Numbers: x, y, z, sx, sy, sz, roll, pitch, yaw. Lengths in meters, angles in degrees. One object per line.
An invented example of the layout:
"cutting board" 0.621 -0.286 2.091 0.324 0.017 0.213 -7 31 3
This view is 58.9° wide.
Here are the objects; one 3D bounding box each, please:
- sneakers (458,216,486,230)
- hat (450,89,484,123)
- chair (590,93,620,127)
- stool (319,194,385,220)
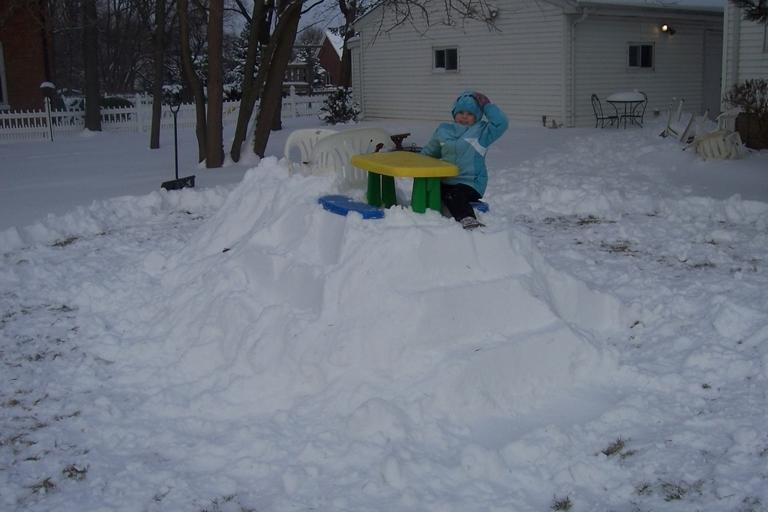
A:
"sneakers" 0.882 -0.370 6.772 0.274 0.104 0.268 -2 14 -1
"hat" 0.963 -1.802 7.795 0.262 0.370 0.372 6 -5 7
"chair" 5.898 -4.060 18.011 0.619 0.892 1.316 9 17 40
"stool" -0.382 -0.553 7.005 0.378 0.144 0.946 -11 16 -32
